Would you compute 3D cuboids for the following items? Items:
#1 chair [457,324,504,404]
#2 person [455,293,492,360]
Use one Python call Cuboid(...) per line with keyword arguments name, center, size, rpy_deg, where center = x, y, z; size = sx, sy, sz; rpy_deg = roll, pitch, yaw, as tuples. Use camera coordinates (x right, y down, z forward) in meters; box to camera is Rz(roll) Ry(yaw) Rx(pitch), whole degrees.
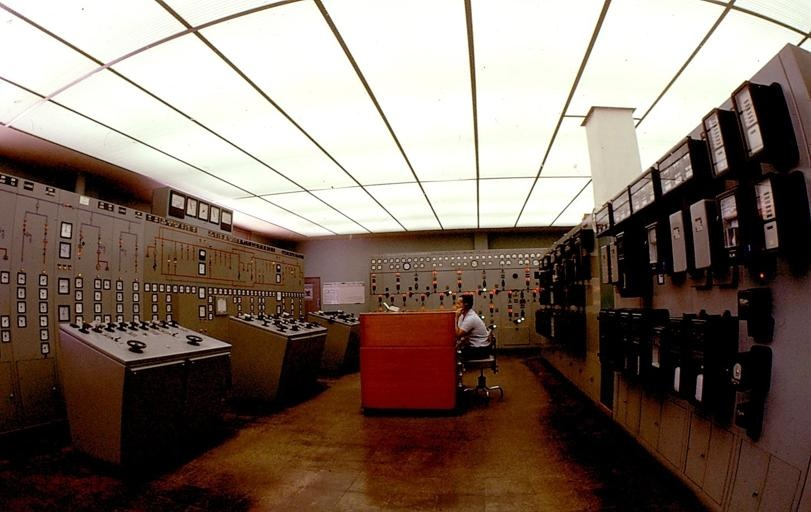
Cuboid(name="chair", center=(1.111, 1.597, 7.508), size=(0.620, 0.964, 0.624), rpy_deg=(-9, -2, 9))
Cuboid(name="person", center=(1.002, 1.079, 7.624), size=(0.677, 0.900, 0.636), rpy_deg=(0, 5, 31))
